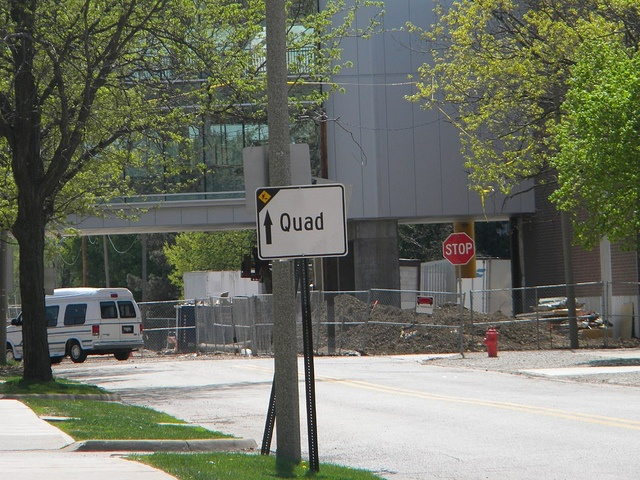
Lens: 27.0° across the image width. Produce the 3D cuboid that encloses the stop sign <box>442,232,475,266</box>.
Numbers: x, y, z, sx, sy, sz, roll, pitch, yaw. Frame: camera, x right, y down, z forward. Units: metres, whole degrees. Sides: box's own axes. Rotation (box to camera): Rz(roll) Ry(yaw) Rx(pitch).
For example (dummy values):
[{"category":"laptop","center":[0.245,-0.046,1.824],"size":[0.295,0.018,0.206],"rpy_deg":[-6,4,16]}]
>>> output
[{"category":"stop sign","center":[4.558,0.340,43.451],"size":[0.967,1.082,1.169],"rpy_deg":[-2,-4,5]}]

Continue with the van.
[{"category":"van","center":[-8.917,3.029,48.405],"size":[4.434,2.302,2.487],"rpy_deg":[-1,-2,37]}]
